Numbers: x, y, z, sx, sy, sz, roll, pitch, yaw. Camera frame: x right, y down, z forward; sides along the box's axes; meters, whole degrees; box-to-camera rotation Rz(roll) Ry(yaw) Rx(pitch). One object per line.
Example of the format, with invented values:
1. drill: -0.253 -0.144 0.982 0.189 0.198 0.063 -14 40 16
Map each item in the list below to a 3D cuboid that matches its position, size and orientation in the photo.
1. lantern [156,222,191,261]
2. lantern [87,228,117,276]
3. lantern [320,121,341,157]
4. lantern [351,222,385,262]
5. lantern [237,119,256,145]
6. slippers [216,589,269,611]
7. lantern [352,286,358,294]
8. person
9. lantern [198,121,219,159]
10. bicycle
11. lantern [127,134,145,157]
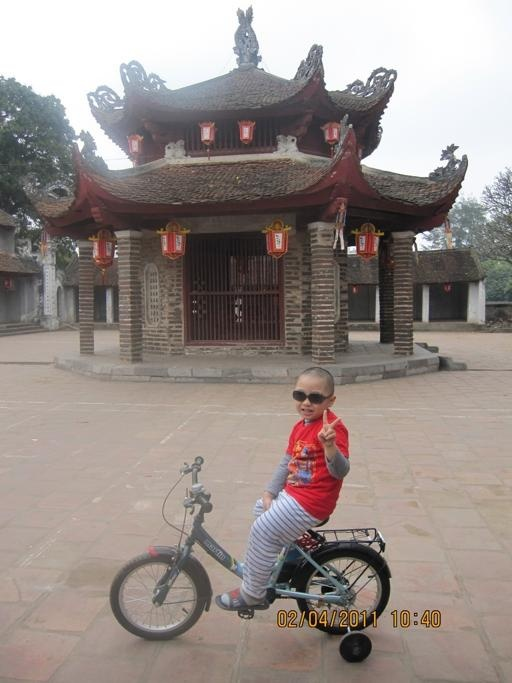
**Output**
1. lantern: -1.555 -1.851 11.609 0.724 0.846 0.705 0 3 -8
2. lantern: -3.173 -1.877 12.857 0.500 0.829 0.568 -1 3 -13
3. lantern: 1.631 -4.493 13.725 0.368 0.645 0.717 -1 3 -7
4. lantern: 2.207 -2.026 12.397 0.492 0.718 0.829 0 3 10
5. lantern: -0.197 -4.461 13.217 0.338 0.541 0.567 -1 3 -1
6. slippers: -0.061 1.114 2.714 0.222 0.094 0.097 9 -13 4
7. lantern: 4.800 -2.507 30.301 0.293 0.468 0.273 -2 -1 -3
8. person: 0.158 0.679 2.722 0.545 1.124 0.440 1 3 27
9. lantern: -1.044 -4.313 13.350 0.338 0.748 0.626 -1 3 -5
10. bicycle: 0.091 0.972 3.074 1.491 0.802 0.690 0 0 1
11. lantern: -2.812 -4.563 14.503 0.518 0.513 0.483 -1 1 0
